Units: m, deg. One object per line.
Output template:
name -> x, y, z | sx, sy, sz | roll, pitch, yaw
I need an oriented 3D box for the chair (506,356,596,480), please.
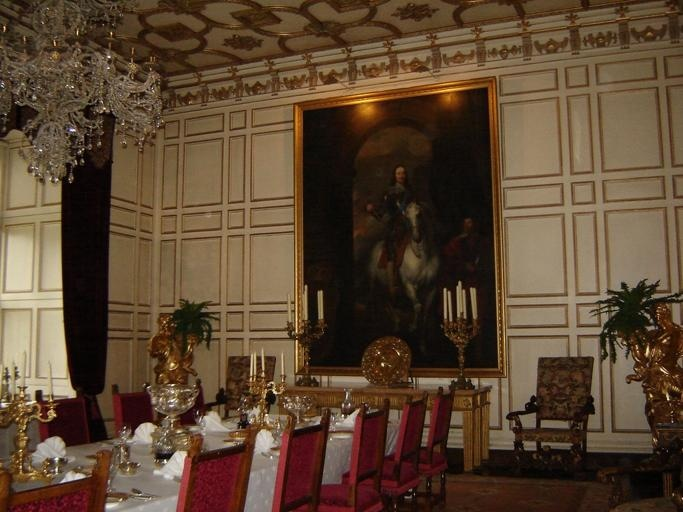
chair -> 2.339, 1.730, 6.825 | 0.718, 1.252, 0.815 | -6, -13, 35

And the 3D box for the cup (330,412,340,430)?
cup -> -0.047, 1.380, 5.206 | 0.109, 0.130, 0.110 | 0, 0, 0

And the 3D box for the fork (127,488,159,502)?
fork -> -1.099, 1.324, 3.425 | 0.191, 0.021, 0.060 | 13, 40, 2

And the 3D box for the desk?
desk -> 0.408, 2.009, 7.288 | 2.546, 0.999, 0.913 | -3, -6, 7

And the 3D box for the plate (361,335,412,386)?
plate -> 0.613, 1.247, 7.232 | 0.152, 0.614, 0.587 | 33, -48, -31

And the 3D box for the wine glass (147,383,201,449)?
wine glass -> -1.120, 1.094, 4.135 | 0.337, 0.464, 0.283 | 4, -12, -36

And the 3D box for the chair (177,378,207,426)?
chair -> -1.444, 1.457, 5.951 | 0.261, 0.413, 0.270 | -4, -2, 11
